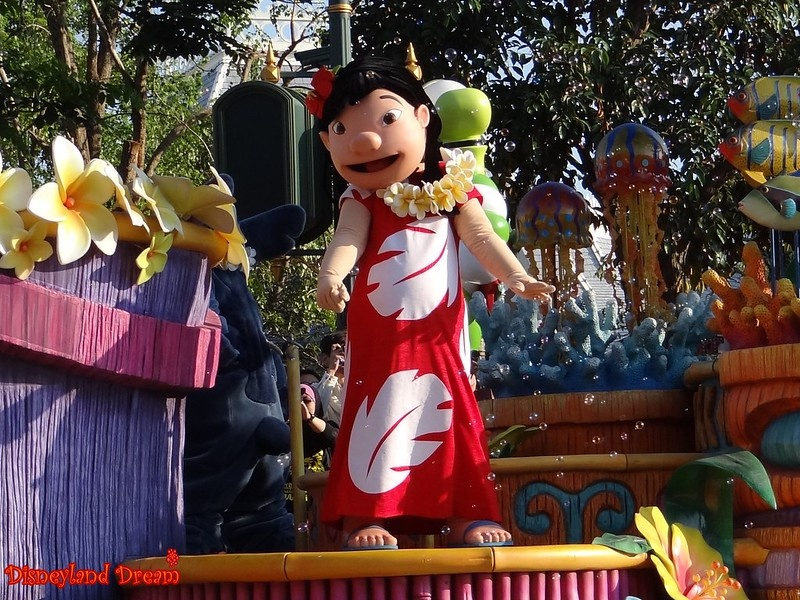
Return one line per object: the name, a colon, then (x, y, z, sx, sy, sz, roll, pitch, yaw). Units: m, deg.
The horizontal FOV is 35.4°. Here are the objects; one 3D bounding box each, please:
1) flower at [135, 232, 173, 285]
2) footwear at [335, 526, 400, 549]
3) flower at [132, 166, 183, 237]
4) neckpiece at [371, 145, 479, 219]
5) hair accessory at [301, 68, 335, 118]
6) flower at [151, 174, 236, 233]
flower: (-0.793, -0.134, 3.954, 0.099, 0.034, 0.109, 18, 28, -25)
footwear: (-0.101, 0.786, 4.086, 0.172, 0.074, 0.286, -2, -3, -2)
flower: (-0.798, -0.343, 3.990, 0.170, 0.043, 0.163, -4, -40, 29)
neckpiece: (0.163, -0.415, 4.645, 0.265, 0.217, 0.582, -21, 6, 2)
hair accessory: (-0.300, -0.754, 4.562, 0.063, 0.167, 0.139, -8, 7, -39)
flower: (-0.689, -0.328, 4.100, 0.286, 0.128, 0.271, 15, 20, 41)
